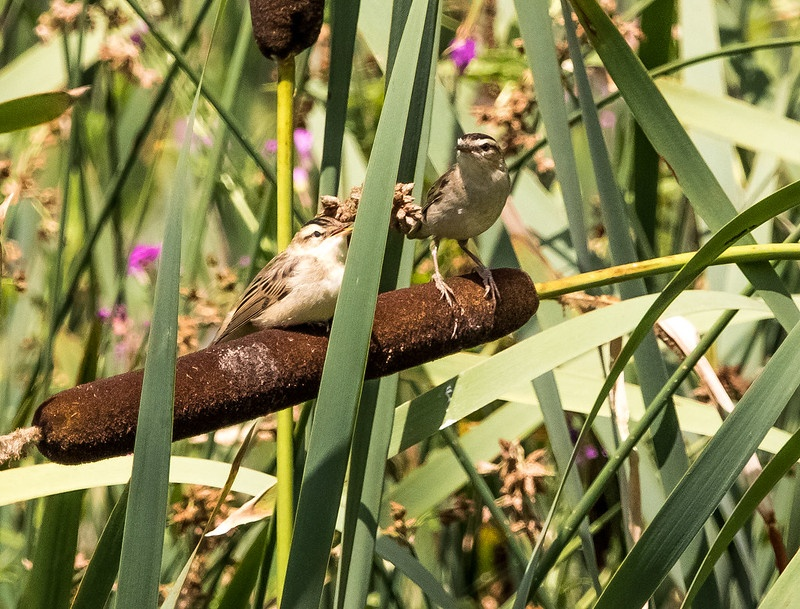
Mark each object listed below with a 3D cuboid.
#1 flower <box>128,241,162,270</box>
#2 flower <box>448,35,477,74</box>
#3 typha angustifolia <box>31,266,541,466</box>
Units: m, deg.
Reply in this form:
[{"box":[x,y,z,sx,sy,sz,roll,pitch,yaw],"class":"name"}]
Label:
[{"box":[-1.061,-0.193,4.142,0.106,0.149,0.074,15,-48,-14],"class":"flower"},{"box":[0.270,-1.076,4.275,0.104,0.152,0.054,12,-1,39],"class":"flower"},{"box":[-0.284,0.151,2.915,1.378,0.742,0.230,0,-45,0],"class":"typha angustifolia"}]
